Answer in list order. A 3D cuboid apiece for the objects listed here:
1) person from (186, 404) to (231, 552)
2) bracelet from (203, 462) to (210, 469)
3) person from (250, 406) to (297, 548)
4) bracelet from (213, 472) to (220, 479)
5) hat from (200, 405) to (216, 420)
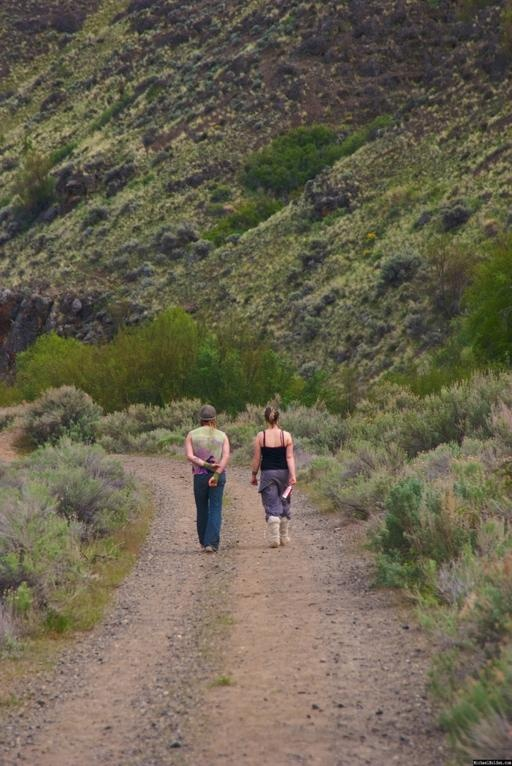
[{"bbox_3d":[-0.716,1.452,17.320,0.617,2.178,0.614,-3,11,-9],"label":"person"},{"bbox_3d":[-0.706,1.202,17.020,0.138,0.075,0.068,7,16,30],"label":"bracelet"},{"bbox_3d":[0.268,1.375,17.507,0.624,2.140,0.577,-1,11,0],"label":"person"},{"bbox_3d":[-0.582,1.362,17.040,0.070,0.150,0.077,-12,-19,43],"label":"bracelet"},{"bbox_3d":[-0.735,0.443,17.762,0.246,0.196,0.449,-1,17,-5],"label":"hat"}]
